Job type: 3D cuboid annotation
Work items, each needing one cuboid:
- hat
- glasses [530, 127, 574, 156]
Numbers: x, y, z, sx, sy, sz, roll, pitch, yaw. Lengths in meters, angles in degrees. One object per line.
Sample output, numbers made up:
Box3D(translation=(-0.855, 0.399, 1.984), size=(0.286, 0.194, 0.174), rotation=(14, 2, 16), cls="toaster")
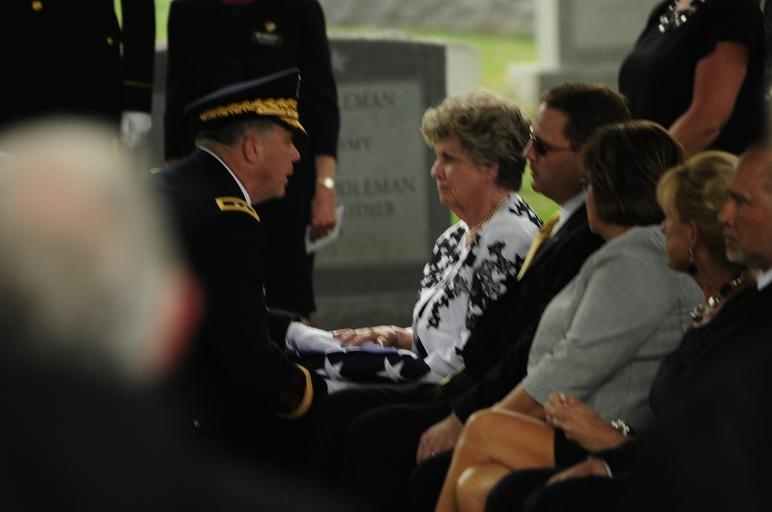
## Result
Box3D(translation=(-0.400, -0.420, 2.562), size=(0.233, 0.128, 0.211), rotation=(-3, 1, -11), cls="hat")
Box3D(translation=(0.428, -0.303, 2.424), size=(0.075, 0.023, 0.075), rotation=(5, 31, -23), cls="glasses")
